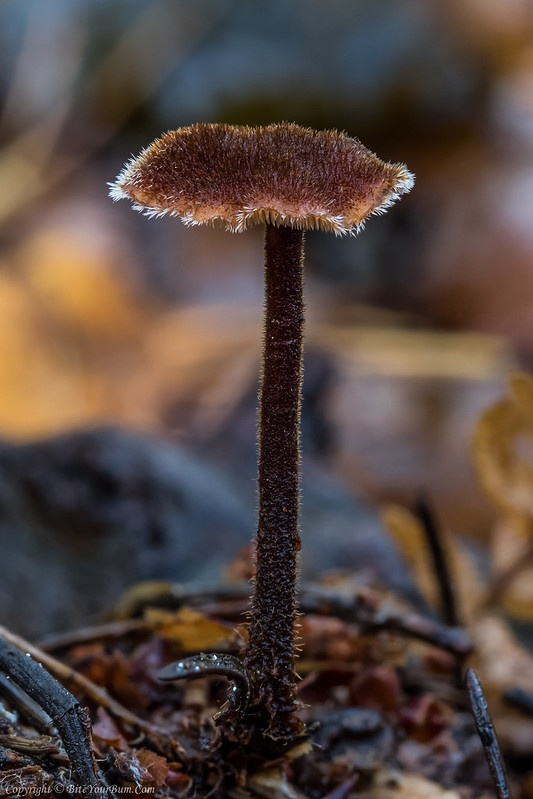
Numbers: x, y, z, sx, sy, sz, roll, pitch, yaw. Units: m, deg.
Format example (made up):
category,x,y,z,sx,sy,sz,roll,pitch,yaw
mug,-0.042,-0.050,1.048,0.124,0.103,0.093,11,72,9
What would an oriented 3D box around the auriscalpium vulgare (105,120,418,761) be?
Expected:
category,x,y,z,sx,sy,sz,roll,pitch,yaw
auriscalpium vulgare,0.014,0.044,0.792,0.282,0.568,0.253,-2,17,-9
